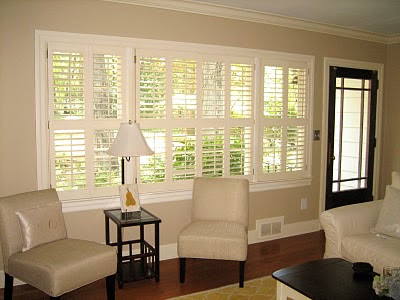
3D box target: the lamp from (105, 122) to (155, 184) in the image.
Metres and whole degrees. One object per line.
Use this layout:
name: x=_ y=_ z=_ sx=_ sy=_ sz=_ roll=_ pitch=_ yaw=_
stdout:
lamp: x=-0.698 y=-0.111 z=3.284 sx=0.464 sy=0.329 sz=0.177 roll=-2 pitch=10 yaw=-12

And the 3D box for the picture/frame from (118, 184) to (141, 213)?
picture/frame: x=-0.729 y=0.508 z=3.436 sx=0.191 sy=0.300 sz=0.135 roll=-5 pitch=11 yaw=-29

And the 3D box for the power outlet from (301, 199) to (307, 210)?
power outlet: x=1.449 y=0.752 z=4.671 sx=0.154 sy=0.198 sz=0.019 roll=-4 pitch=9 yaw=-32

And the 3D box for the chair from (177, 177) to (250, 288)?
chair: x=0.187 y=0.852 z=3.665 sx=0.809 sy=0.968 sz=0.842 roll=2 pitch=3 yaw=22
